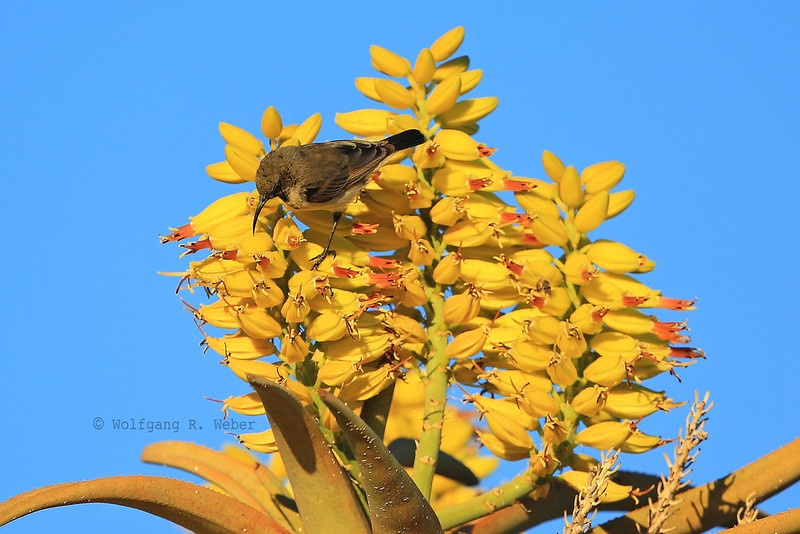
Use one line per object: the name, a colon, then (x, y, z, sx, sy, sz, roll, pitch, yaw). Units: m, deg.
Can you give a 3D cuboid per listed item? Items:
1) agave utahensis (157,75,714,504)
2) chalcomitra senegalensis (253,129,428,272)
agave utahensis: (0.082, 0.195, 8.021, 2.122, 2.393, 2.248, -2, -8, 15)
chalcomitra senegalensis: (-0.358, -0.343, 7.398, 0.568, 0.741, 0.837, -1, 0, 35)
